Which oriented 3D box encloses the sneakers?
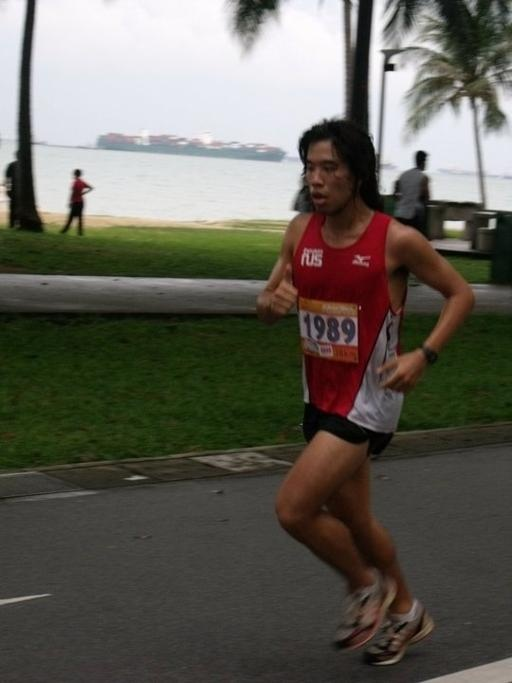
[{"bbox_3d":[0.347,0.781,2.022,0.167,0.169,0.447,-4,-7,34],"label":"sneakers"}]

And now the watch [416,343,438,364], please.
[{"bbox_3d":[0.428,0.030,1.769,0.048,0.048,0.034,35,50,29],"label":"watch"}]

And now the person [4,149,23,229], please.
[{"bbox_3d":[-7.621,-4.695,22.032,0.346,2.337,0.992,0,3,-26],"label":"person"}]

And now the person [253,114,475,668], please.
[{"bbox_3d":[0.309,0.182,1.847,0.493,1.495,0.378,1,2,2],"label":"person"}]
